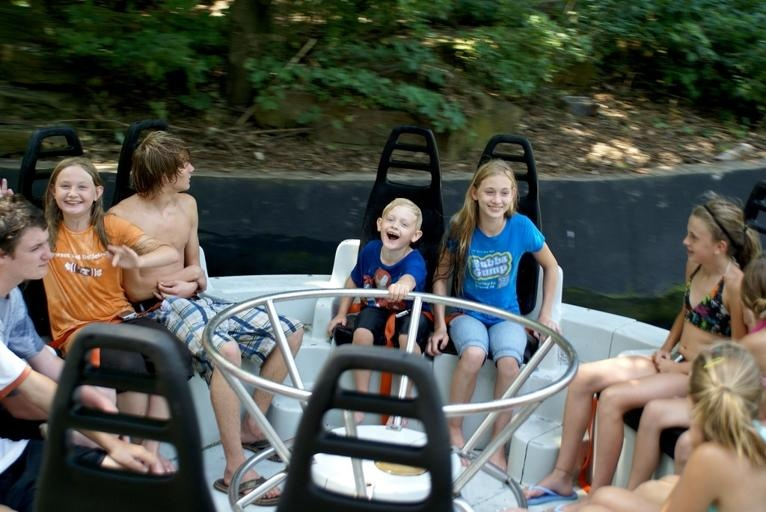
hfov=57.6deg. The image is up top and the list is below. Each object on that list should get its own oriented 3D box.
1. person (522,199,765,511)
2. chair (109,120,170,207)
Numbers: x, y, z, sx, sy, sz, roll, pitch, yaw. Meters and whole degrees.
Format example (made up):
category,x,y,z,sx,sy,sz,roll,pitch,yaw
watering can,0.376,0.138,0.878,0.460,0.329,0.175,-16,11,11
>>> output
category,x,y,z,sx,sy,sz,roll,pitch,yaw
person,1.144,0.422,2.899,0.928,1.268,0.471,-12,24,-41
chair,-1.154,-0.441,3.309,0.234,0.513,0.099,-18,58,-37
